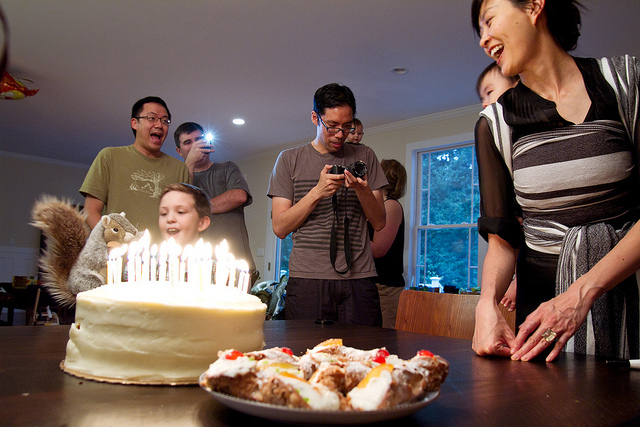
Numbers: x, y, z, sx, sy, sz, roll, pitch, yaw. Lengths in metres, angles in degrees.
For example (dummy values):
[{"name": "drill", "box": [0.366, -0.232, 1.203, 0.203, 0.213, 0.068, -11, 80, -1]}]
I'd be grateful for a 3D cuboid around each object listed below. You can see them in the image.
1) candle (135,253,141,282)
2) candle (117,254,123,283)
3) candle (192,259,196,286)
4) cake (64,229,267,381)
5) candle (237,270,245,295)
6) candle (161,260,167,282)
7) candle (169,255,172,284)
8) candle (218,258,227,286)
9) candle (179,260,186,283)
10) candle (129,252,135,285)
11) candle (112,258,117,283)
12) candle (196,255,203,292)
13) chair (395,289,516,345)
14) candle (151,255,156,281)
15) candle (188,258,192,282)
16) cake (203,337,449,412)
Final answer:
[{"name": "candle", "box": [-0.479, 0.143, 1.124, 0.017, 0.071, 0.064, 4, -4, -22]}, {"name": "candle", "box": [-0.514, 0.143, 1.094, 0.011, 0.074, 0.067, 4, -4, -25]}, {"name": "candle", "box": [-0.316, 0.151, 1.072, 0.011, 0.067, 0.028, 3, -4, -15]}, {"name": "cake", "box": [-0.405, 0.244, 1.198, 0.509, 0.312, 0.506, 2, -6, 31]}, {"name": "candle", "box": [-0.209, 0.184, 1.134, 0.016, 0.063, 0.045, 3, -4, -9]}, {"name": "candle", "box": [-0.405, 0.152, 1.109, 0.011, 0.053, 0.034, 4, -4, -20]}, {"name": "candle", "box": [-0.375, 0.127, 1.071, 0.004, 0.043, 0.053, 4, -4, -22]}, {"name": "candle", "box": [-0.255, 0.155, 1.115, 0.019, 0.073, 0.057, 3, -4, -6]}, {"name": "candle", "box": [-0.360, 0.152, 1.115, 0.012, 0.058, 0.058, 3, -4, -18]}, {"name": "candle", "box": [-0.497, 0.142, 1.129, 0.016, 0.074, 0.041, 4, -4, -23]}, {"name": "candle", "box": [-0.513, 0.145, 1.069, 0.013, 0.059, 0.023, 4, -4, -24]}, {"name": "candle", "box": [-0.299, 0.150, 1.060, 0.019, 0.090, 0.038, 3, -4, -15]}, {"name": "chair", "box": [0.529, 0.460, 1.957, 0.384, 0.194, 0.117, -1, -5, 40]}, {"name": "candle", "box": [-0.447, 0.148, 1.144, 0.008, 0.062, 0.052, 4, -4, -27]}, {"name": "candle", "box": [-0.332, 0.147, 1.091, 0.011, 0.062, 0.040, 4, -4, -21]}, {"name": "cake", "box": [0.004, 0.310, 0.828, 0.363, 0.079, 0.332, 7, -6, -44]}]
